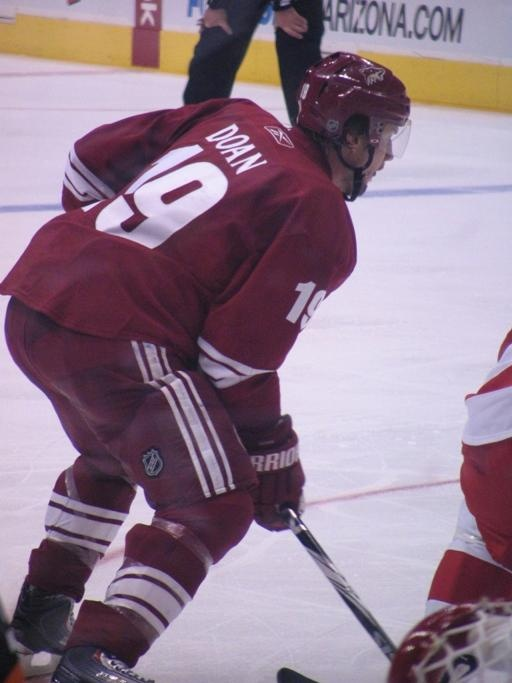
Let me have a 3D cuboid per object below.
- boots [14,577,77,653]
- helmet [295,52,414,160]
[{"bbox_3d":[-0.415,0.532,1.466,0.106,0.146,0.119,10,16,-18],"label":"boots"},{"bbox_3d":[0.162,-0.480,1.510,0.269,0.204,0.197,-8,29,-22],"label":"helmet"}]
